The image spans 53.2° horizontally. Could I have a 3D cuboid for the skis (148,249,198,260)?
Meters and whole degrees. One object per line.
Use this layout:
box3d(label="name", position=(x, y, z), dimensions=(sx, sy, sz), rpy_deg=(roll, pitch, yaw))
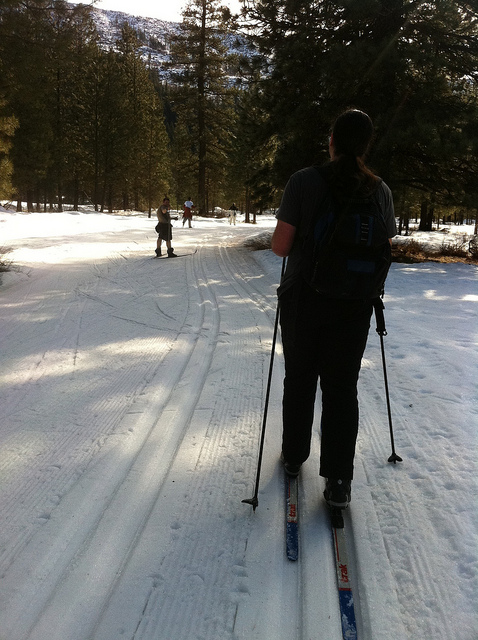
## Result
box3d(label="skis", position=(-1.752, -1.666, 12.203), dimensions=(0.203, 0.181, 1.594), rpy_deg=(15, 20, 29))

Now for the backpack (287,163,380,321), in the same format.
box3d(label="backpack", position=(0.473, -0.395, 2.442), dimensions=(0.409, 0.702, 0.673), rpy_deg=(9, 2, -7))
